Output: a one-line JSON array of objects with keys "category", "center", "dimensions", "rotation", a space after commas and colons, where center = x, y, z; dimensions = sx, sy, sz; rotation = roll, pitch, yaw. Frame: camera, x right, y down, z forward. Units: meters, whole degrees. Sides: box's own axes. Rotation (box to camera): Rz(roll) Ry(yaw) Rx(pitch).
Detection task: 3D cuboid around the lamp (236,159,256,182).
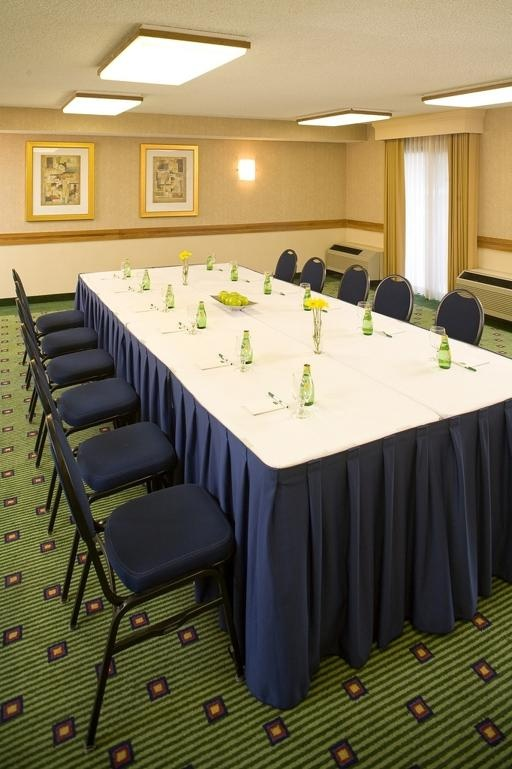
[{"category": "lamp", "center": [-0.173, -3.874, 9.216], "dimensions": [0.370, 0.363, 0.229], "rotation": [-4, 10, -16]}]
